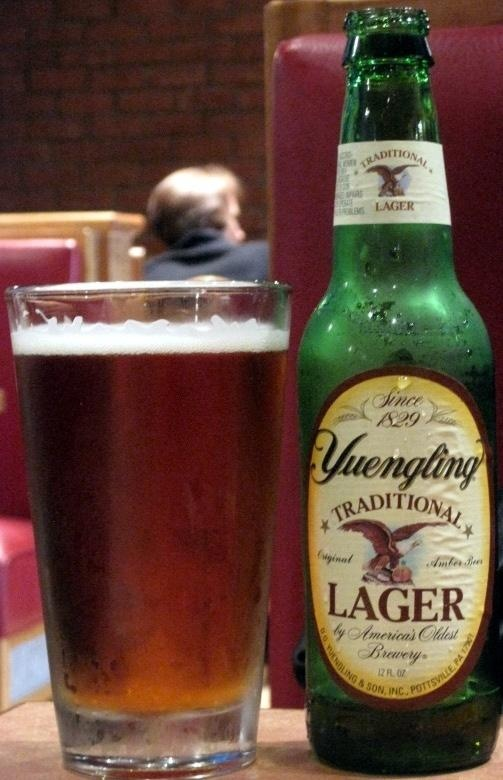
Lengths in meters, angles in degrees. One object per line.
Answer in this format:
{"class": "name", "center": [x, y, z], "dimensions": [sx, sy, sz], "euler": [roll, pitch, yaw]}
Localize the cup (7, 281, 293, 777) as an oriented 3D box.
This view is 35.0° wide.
{"class": "cup", "center": [-0.057, 0.060, 0.375], "dimensions": [0.132, 0.211, 0.152], "euler": [2, 28, 10]}
